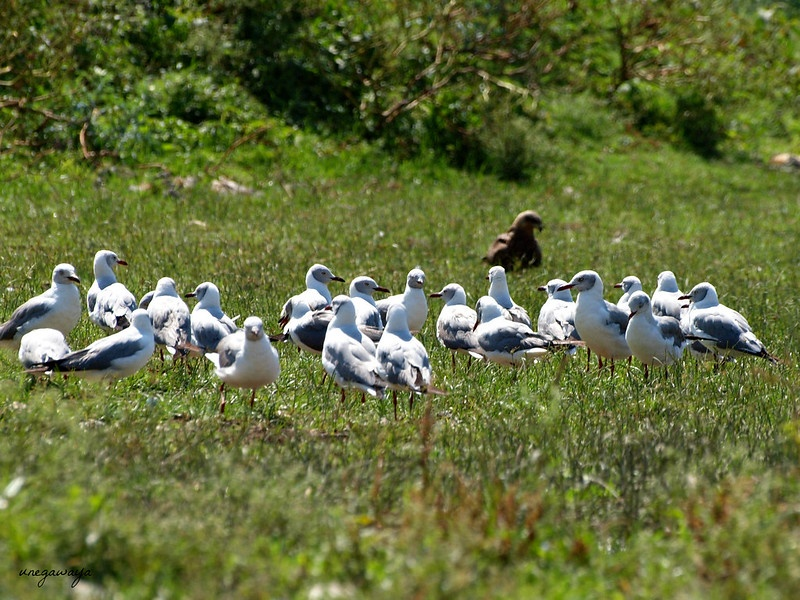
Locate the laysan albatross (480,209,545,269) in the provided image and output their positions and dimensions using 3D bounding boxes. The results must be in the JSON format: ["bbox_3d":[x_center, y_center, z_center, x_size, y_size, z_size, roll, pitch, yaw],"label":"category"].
[{"bbox_3d":[2.042,-0.973,22.466,0.923,1.250,1.269,26,63,-63],"label":"laysan albatross"}]
